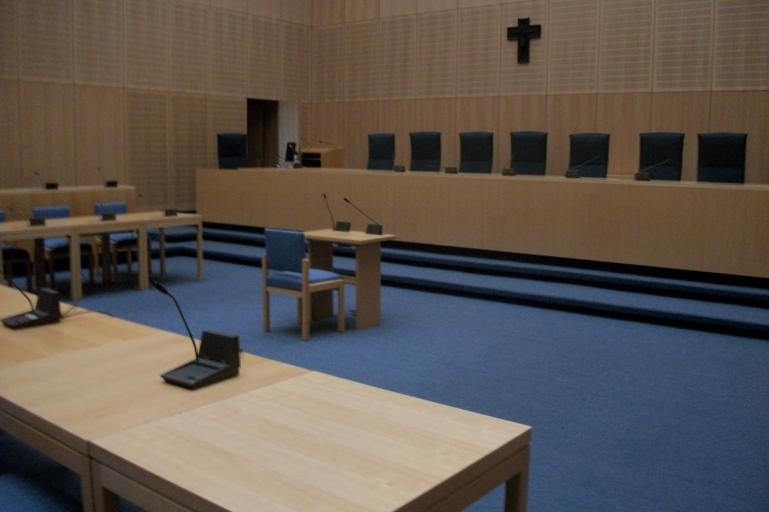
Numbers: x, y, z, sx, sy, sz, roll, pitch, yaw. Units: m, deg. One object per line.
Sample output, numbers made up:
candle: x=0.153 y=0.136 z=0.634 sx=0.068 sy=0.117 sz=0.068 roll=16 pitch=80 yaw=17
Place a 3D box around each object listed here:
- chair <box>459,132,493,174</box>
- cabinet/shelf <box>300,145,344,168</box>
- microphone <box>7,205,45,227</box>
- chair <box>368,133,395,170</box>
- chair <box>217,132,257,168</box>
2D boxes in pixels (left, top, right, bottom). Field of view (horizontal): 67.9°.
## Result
chair: x=1.634 y=-1.843 z=10.032 sx=0.616 sy=0.901 sz=0.735 roll=2 pitch=12 yaw=19
cabinet/shelf: x=-1.312 y=-2.127 z=12.313 sx=0.908 sy=0.398 sz=0.539 roll=-3 pitch=13 yaw=-16
microphone: x=-4.684 y=-0.526 z=7.392 sx=0.491 sy=0.167 sz=0.282 roll=10 pitch=14 yaw=32
chair: x=-0.048 y=-1.973 z=10.734 sx=0.590 sy=0.862 sz=0.681 roll=1 pitch=13 yaw=11
chair: x=-2.987 y=-2.091 z=11.187 sx=0.556 sy=0.656 sz=0.762 roll=-4 pitch=13 yaw=-17
